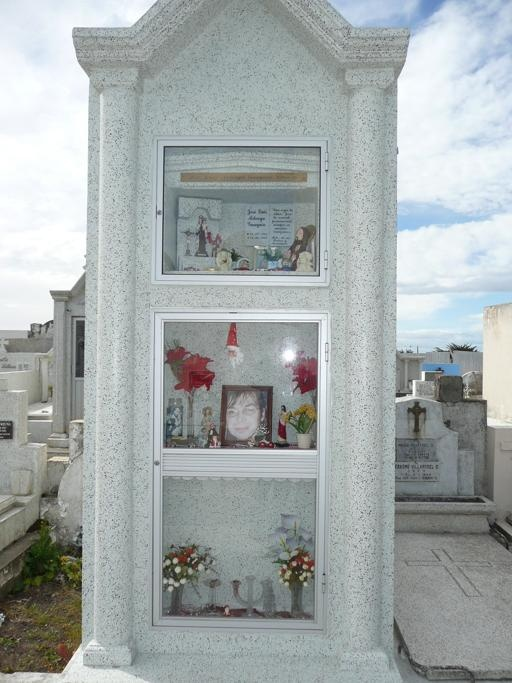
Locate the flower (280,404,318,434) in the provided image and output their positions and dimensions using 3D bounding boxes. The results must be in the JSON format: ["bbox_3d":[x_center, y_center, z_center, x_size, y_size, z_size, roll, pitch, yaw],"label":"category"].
[{"bbox_3d":[0.294,0.545,4.439,0.216,0.201,0.169,3,-4,-20],"label":"flower"}]

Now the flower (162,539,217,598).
[{"bbox_3d":[-0.472,1.574,4.555,0.356,0.386,0.273,4,-5,-14],"label":"flower"}]

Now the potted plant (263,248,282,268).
[{"bbox_3d":[0.124,-0.547,4.447,0.125,0.136,0.123,-4,-12,32],"label":"potted plant"}]

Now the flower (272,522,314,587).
[{"bbox_3d":[0.245,1.528,4.458,0.244,0.376,0.320,-1,-15,11],"label":"flower"}]

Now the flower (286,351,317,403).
[{"bbox_3d":[0.340,0.262,4.455,0.187,0.200,0.177,-22,1,-34],"label":"flower"}]

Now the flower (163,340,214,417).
[{"bbox_3d":[-0.461,0.302,4.593,0.349,0.489,0.402,5,5,41],"label":"flower"}]

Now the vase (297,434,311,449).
[{"bbox_3d":[0.331,0.688,4.396,0.088,0.073,0.091,-1,-6,27],"label":"vase"}]

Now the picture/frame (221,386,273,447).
[{"bbox_3d":[-0.050,0.545,4.498,0.372,0.513,0.037,1,-7,1],"label":"picture/frame"}]
